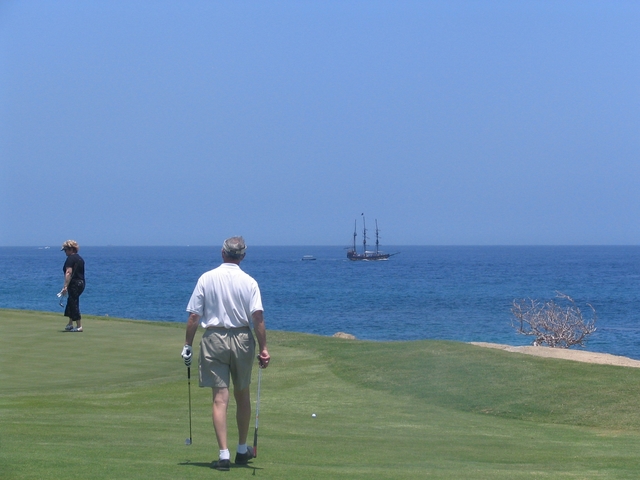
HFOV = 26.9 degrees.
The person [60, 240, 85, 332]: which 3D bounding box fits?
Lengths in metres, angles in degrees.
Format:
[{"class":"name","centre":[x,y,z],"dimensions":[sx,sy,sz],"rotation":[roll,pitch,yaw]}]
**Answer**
[{"class":"person","centre":[-8.634,1.753,46.874],"dimensions":[1.017,2.949,1.159],"rotation":[-1,-1,6]}]

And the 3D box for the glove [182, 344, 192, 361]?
[{"class":"glove","centre":[-3.672,3.147,37.026],"dimensions":[0.241,0.420,0.374],"rotation":[0,1,-6]}]
